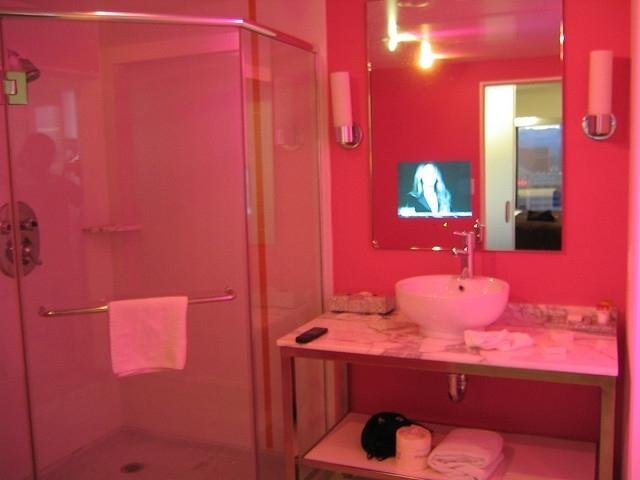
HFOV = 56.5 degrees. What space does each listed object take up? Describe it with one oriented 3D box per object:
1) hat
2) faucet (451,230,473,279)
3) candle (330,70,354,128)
[{"bbox_3d":[0.326,0.940,2.864,0.244,0.092,0.187,-2,8,23],"label":"hat"},{"bbox_3d":[0.709,0.064,2.961,0.104,0.206,0.215,-1,8,13],"label":"faucet"},{"bbox_3d":[0.107,-0.731,3.110,0.102,0.276,0.077,-3,7,-4],"label":"candle"}]
